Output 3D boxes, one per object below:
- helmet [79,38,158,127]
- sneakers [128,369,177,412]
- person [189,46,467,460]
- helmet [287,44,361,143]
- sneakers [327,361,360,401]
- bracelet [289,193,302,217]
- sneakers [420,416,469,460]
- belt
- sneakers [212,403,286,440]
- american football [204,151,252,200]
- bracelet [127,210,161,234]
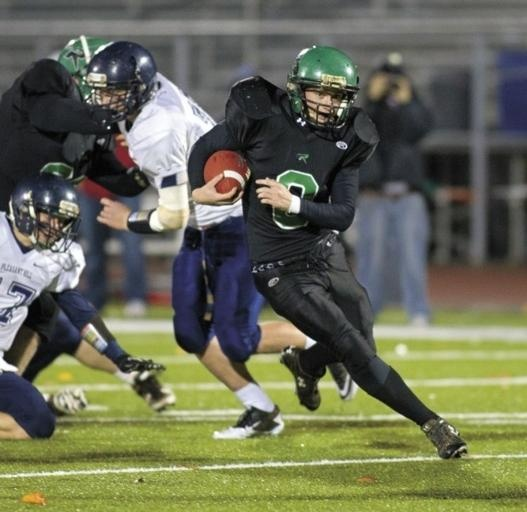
[{"bbox_3d":[-0.592,-0.734,3.893,0.303,0.339,0.226,-2,8,-6],"label":"helmet"},{"bbox_3d":[-0.533,0.661,4.540,0.307,0.108,0.137,33,-13,5],"label":"sneakers"},{"bbox_3d":[0.220,-0.039,3.678,1.054,1.584,0.490,0,9,9],"label":"person"},{"bbox_3d":[0.247,-0.649,3.662,0.267,0.357,0.185,-1,8,1],"label":"helmet"},{"bbox_3d":[0.388,0.580,4.326,0.104,0.238,0.085,1,50,16],"label":"sneakers"},{"bbox_3d":[0.128,-0.192,3.492,0.062,0.052,0.064,3,-2,12],"label":"bracelet"},{"bbox_3d":[0.713,0.688,3.508,0.134,0.075,0.182,-33,46,-3],"label":"sneakers"},{"bbox_3d":[0.161,-0.005,3.781,0.277,0.100,0.185,-19,-13,1],"label":"belt"},{"bbox_3d":[-0.052,0.716,4.060,0.305,0.117,0.095,-7,8,-9],"label":"sneakers"},{"bbox_3d":[-0.139,-0.312,3.738,0.214,0.192,0.164,-6,47,0],"label":"american football"},{"bbox_3d":[-0.500,-0.143,3.842,0.145,0.053,0.095,11,8,7],"label":"bracelet"}]
